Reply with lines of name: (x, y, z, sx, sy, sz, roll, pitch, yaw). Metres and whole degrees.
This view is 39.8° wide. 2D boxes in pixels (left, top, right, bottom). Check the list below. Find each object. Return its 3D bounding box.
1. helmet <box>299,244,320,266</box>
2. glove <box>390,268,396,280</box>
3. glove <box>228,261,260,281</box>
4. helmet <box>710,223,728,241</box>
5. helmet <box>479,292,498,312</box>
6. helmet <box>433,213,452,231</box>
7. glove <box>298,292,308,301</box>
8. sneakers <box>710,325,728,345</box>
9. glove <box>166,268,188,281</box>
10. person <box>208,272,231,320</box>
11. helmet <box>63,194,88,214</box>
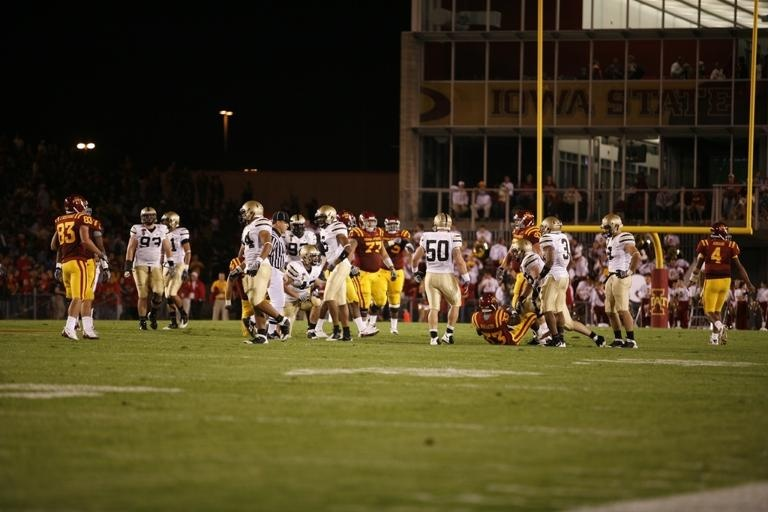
helmet: (-1.306, -0.012, 18.944, 0.350, 0.375, 0.323, -1, 12, -6)
glove: (0.179, 0.351, 20.584, 0.122, 0.179, 0.077, 0, 31, 20)
glove: (-2.248, 0.241, 17.369, 0.415, 0.179, 0.325, -4, 2, 16)
helmet: (6.453, -0.489, 20.434, 0.330, 0.340, 0.255, -12, 17, -27)
helmet: (1.797, 0.791, 18.250, 0.245, 0.277, 0.325, 0, 11, 12)
helmet: (1.053, -0.597, 18.757, 0.306, 0.294, 0.420, 1, 12, 2)
glove: (-1.409, 0.707, 18.937, 0.145, 0.151, 0.114, 15, -12, 40)
sneakers: (6.307, 1.476, 20.119, 0.204, 0.304, 0.630, -4, 3, 0)
glove: (-4.022, 0.346, 20.572, 0.329, 0.174, 0.260, -7, -7, 31)
person: (-4.123, 1.151, 27.060, 0.530, 1.548, 0.442, 2, 28, -11)
helmet: (-5.128, -0.809, 17.753, 0.406, 0.344, 0.332, -7, 15, -19)
